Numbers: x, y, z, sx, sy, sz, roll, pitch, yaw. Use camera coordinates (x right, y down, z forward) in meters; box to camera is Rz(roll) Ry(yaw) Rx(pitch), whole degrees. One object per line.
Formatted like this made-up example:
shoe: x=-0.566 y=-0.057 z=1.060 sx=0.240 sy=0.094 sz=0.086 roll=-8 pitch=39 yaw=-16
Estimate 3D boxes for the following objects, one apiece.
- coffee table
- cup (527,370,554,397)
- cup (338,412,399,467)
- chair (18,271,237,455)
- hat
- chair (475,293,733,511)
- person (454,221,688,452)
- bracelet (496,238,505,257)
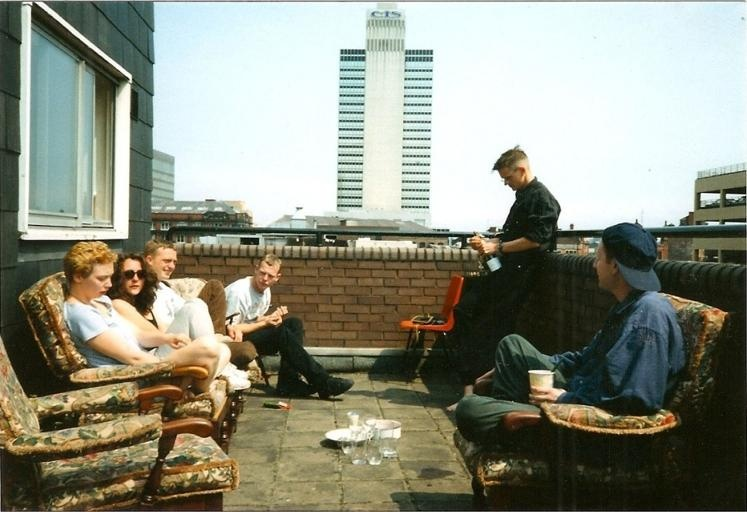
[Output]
coffee table: x=1.268 y=1.098 z=4.056 sx=0.614 sy=0.623 sz=0.629 roll=-2 pitch=0 yaw=-18
cup: x=0.979 y=0.754 z=4.183 sx=0.140 sy=0.109 sz=0.135 roll=0 pitch=-7 yaw=0
cup: x=-0.017 y=1.349 z=5.380 sx=0.444 sy=0.276 sz=0.475 roll=1 pitch=7 yaw=0
chair: x=-1.612 y=0.775 z=4.962 sx=1.452 sy=1.197 sz=1.141 roll=1 pitch=-2 yaw=-11
hat: x=1.486 y=0.001 z=4.100 sx=0.320 sy=0.385 sz=0.135 roll=3 pitch=7 yaw=14
chair: x=1.323 y=0.859 z=4.391 sx=1.305 sy=1.054 sz=1.239 roll=2 pitch=-8 yaw=6
person: x=1.172 y=0.556 z=4.346 sx=1.409 sy=1.504 sz=1.084 roll=2 pitch=-1 yaw=0
bracelet: x=1.138 y=-0.089 z=6.379 sx=0.097 sy=0.119 sz=0.114 roll=-4 pitch=-20 yaw=32
